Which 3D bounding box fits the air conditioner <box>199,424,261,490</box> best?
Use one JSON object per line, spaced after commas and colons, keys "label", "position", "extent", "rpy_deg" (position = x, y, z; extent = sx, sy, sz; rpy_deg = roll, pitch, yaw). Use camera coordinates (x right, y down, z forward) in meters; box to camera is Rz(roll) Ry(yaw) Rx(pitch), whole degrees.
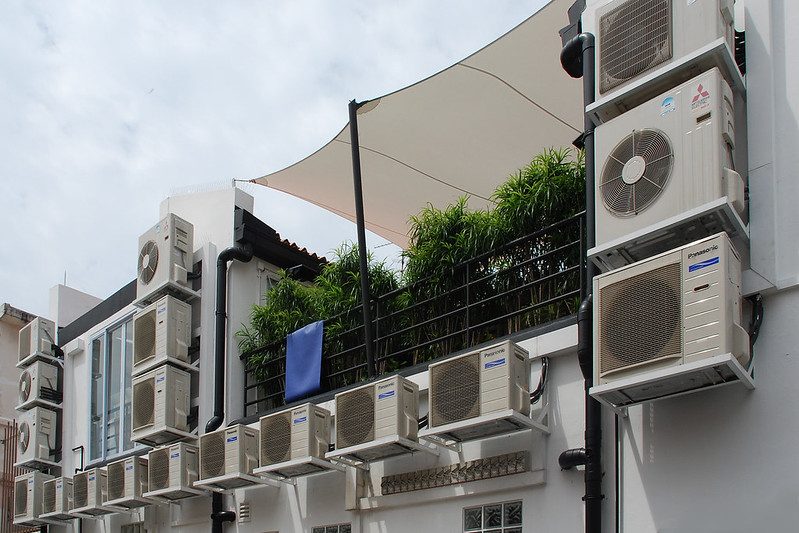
{"label": "air conditioner", "position": [-2.454, 2.825, 19.514], "extent": [0.817, 0.760, 0.541], "rpy_deg": [-16, -29, 21]}

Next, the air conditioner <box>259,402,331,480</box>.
{"label": "air conditioner", "position": [-1.438, 2.464, 18.771], "extent": [0.991, 0.847, 0.555], "rpy_deg": [-14, -20, 31]}

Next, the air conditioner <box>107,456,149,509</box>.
{"label": "air conditioner", "position": [-4.182, 3.387, 21.036], "extent": [0.802, 0.671, 0.471], "rpy_deg": [-16, -19, 39]}

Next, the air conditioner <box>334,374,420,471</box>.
{"label": "air conditioner", "position": [-0.302, 2.110, 17.953], "extent": [1.172, 0.931, 0.623], "rpy_deg": [-20, -31, 34]}

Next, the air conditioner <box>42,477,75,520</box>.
{"label": "air conditioner", "position": [-5.582, 3.890, 22.223], "extent": [0.405, 0.604, 0.551], "rpy_deg": [16, -27, -37]}

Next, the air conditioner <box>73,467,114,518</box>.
{"label": "air conditioner", "position": [-4.832, 3.640, 21.419], "extent": [0.374, 0.529, 0.661], "rpy_deg": [18, -32, -35]}

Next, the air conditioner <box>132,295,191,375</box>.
{"label": "air conditioner", "position": [-3.787, 1.207, 21.582], "extent": [1.044, 1.081, 0.572], "rpy_deg": [-21, -28, 37]}

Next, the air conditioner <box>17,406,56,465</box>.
{"label": "air conditioner", "position": [-6.515, 3.140, 24.289], "extent": [0.495, 0.979, 0.950], "rpy_deg": [13, -21, -37]}

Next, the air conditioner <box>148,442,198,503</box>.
{"label": "air conditioner", "position": [-3.387, 3.140, 20.393], "extent": [0.854, 0.707, 0.521], "rpy_deg": [-14, -19, 34]}

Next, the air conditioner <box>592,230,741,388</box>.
{"label": "air conditioner", "position": [3.181, 0.573, 15.689], "extent": [1.344, 1.264, 0.528], "rpy_deg": [-18, -29, 40]}

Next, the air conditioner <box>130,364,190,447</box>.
{"label": "air conditioner", "position": [-3.737, 2.234, 21.183], "extent": [0.984, 1.047, 0.597], "rpy_deg": [-16, -22, 35]}

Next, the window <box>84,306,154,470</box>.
{"label": "window", "position": [-4.619, 2.148, 22.470], "extent": [0.095, 2.452, 1.991], "rpy_deg": [11, -25, -32]}

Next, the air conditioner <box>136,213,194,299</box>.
{"label": "air conditioner", "position": [-3.650, -0.051, 21.344], "extent": [0.387, 1.119, 0.916], "rpy_deg": [12, -27, -35]}

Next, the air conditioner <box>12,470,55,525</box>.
{"label": "air conditioner", "position": [-6.183, 3.997, 22.935], "extent": [0.419, 0.815, 0.565], "rpy_deg": [19, -39, -31]}

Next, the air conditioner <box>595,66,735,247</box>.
{"label": "air conditioner", "position": [3.235, -1.236, 16.026], "extent": [0.628, 1.599, 1.558], "rpy_deg": [20, -29, -41]}

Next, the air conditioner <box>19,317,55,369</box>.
{"label": "air conditioner", "position": [-6.768, 1.498, 25.214], "extent": [0.416, 0.771, 0.756], "rpy_deg": [17, -33, -41]}

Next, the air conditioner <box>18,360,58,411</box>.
{"label": "air conditioner", "position": [-6.514, 2.217, 24.491], "extent": [0.330, 0.637, 0.631], "rpy_deg": [14, -30, -31]}

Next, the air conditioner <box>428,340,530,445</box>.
{"label": "air conditioner", "position": [1.029, 1.617, 17.093], "extent": [1.372, 1.032, 0.429], "rpy_deg": [-25, -33, 25]}
